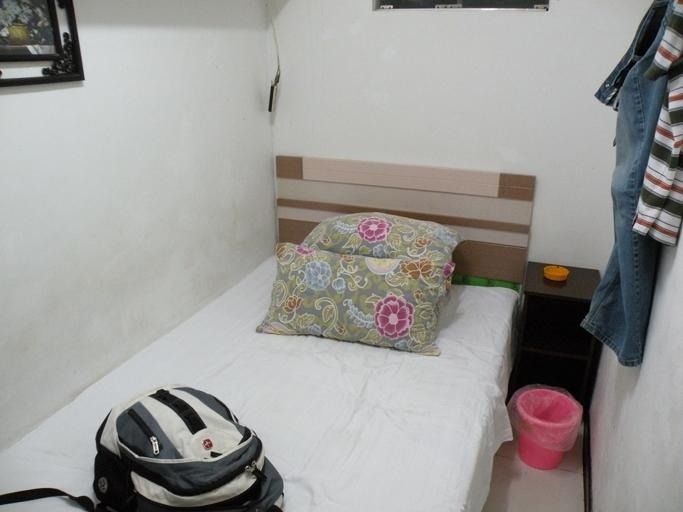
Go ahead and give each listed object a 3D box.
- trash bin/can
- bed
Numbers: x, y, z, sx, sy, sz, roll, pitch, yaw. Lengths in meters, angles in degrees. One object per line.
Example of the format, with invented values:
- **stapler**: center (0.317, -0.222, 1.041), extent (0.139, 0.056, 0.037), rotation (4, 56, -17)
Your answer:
- **trash bin/can**: center (0.989, 0.784, 2.414), extent (0.322, 0.311, 0.359), rotation (0, 19, 4)
- **bed**: center (-0.079, 0.270, 2.171), extent (1.652, 0.925, 2.089), rotation (7, 27, 21)
